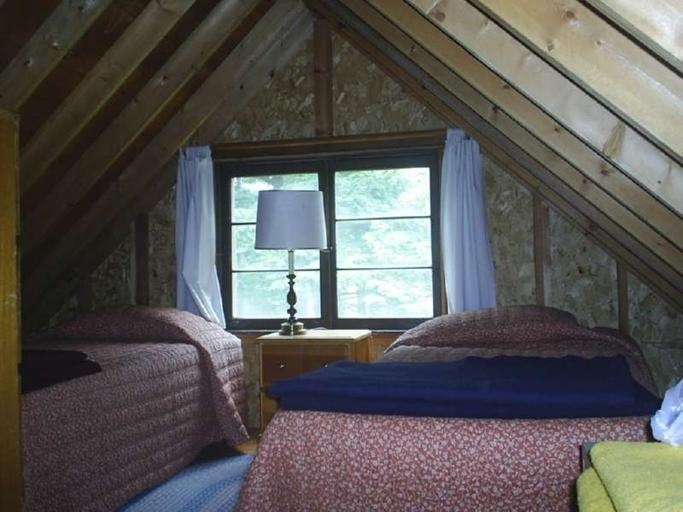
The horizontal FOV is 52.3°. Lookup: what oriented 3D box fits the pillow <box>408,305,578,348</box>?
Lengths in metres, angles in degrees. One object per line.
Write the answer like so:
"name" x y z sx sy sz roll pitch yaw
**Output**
"pillow" 0.761 0.381 3.650 0.574 0.112 0.373 -5 0 8
